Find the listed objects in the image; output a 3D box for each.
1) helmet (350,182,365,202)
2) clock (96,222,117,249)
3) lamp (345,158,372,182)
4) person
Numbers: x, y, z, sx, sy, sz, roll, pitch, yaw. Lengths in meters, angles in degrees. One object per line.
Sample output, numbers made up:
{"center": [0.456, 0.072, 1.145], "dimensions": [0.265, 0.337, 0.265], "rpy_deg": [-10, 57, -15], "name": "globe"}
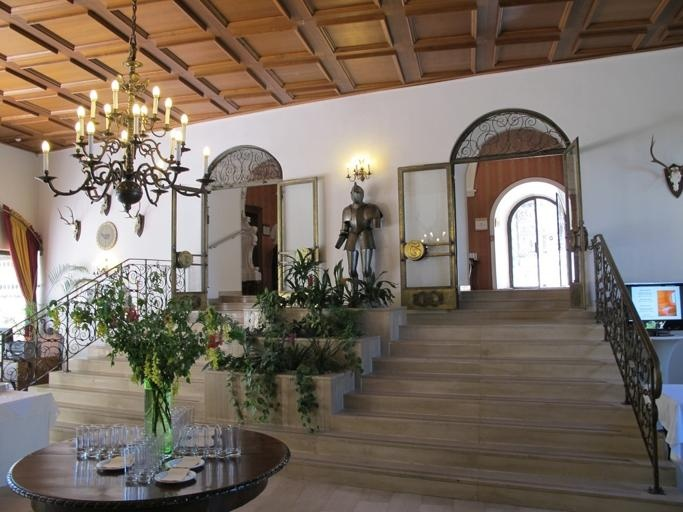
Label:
{"center": [0.282, -0.962, 7.837], "dimensions": [0.197, 0.375, 0.274], "rpy_deg": [-5, -8, 27], "name": "helmet"}
{"center": [-4.496, -0.391, 9.705], "dimensions": [0.466, 0.598, 0.060], "rpy_deg": [0, -3, 24], "name": "clock"}
{"center": [0.294, -1.387, 8.167], "dimensions": [0.428, 0.378, 0.158], "rpy_deg": [2, 7, 5], "name": "lamp"}
{"center": [0.260, -0.349, 7.704], "dimensions": [0.712, 1.509, 1.191], "rpy_deg": [2, 8, 4], "name": "person"}
